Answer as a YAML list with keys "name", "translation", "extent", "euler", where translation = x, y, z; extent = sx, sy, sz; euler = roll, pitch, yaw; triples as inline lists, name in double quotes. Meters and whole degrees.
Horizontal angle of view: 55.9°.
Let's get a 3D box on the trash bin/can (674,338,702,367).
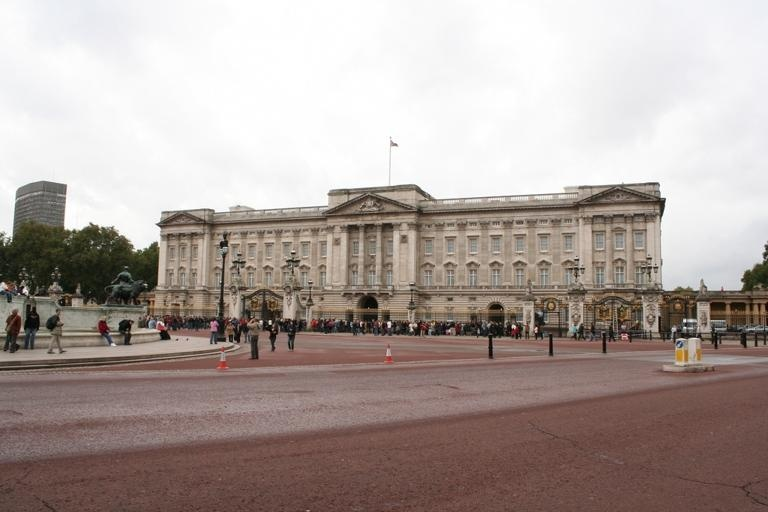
- name: "trash bin/can"
  translation: [10.695, 3.386, 25.319]
  extent: [1.097, 0.963, 0.419]
  euler: [6, -13, -29]
